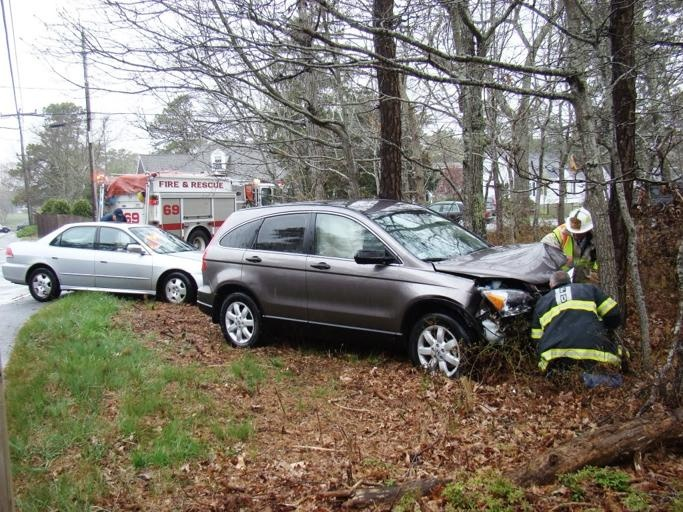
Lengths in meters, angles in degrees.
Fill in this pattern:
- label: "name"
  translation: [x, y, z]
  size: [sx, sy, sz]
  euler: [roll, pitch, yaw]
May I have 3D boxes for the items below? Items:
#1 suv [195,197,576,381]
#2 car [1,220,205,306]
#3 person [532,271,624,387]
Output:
- label: "suv"
  translation: [0.396, 0.230, 7.556]
  size: [4.083, 1.705, 2.258]
  euler: [1, 4, 30]
- label: "car"
  translation: [-4.909, 0.102, 11.062]
  size: [4.426, 1.618, 0.749]
  euler: [-1, 13, 16]
- label: "person"
  translation: [2.624, 0.749, 5.971]
  size: [0.920, 0.476, 1.483]
  euler: [-1, 29, 27]
